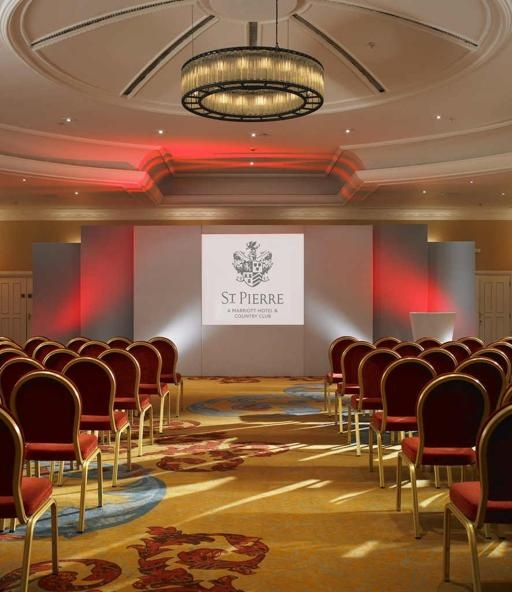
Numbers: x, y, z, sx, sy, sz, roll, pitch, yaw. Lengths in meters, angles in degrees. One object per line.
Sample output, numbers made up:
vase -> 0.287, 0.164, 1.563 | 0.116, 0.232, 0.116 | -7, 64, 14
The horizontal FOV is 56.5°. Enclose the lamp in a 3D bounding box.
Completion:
lamp -> -0.059, -2.030, 4.661 | 1.372, 0.287, 1.276 | -3, 6, -21
